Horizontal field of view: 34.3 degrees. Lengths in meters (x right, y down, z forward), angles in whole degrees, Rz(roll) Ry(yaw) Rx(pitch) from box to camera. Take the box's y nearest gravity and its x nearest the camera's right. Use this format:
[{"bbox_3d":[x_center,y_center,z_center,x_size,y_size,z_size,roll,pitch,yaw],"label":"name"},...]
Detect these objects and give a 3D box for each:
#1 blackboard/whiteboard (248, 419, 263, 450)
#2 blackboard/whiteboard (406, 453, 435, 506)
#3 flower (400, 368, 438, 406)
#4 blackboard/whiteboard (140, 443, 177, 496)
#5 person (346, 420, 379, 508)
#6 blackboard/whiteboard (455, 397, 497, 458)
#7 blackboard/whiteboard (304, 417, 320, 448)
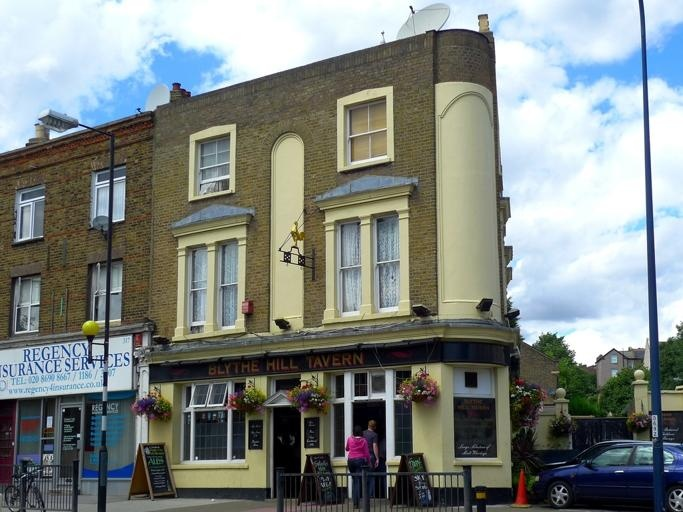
[{"bbox_3d":[-2.921,6.004,37.548,0.615,0.990,0.092,-11,-16,25],"label":"blackboard/whiteboard"},{"bbox_3d":[2.332,6.718,33.241,0.540,1.668,1.355,-19,-12,17],"label":"blackboard/whiteboard"},{"bbox_3d":[2.450,4.007,34.747,0.909,0.749,1.010,2,-10,-10],"label":"flower"},{"bbox_3d":[-6.332,7.328,38.276,0.444,1.901,1.270,-13,-18,34],"label":"blackboard/whiteboard"},{"bbox_3d":[0.729,6.209,33.675,0.838,2.404,0.651,-7,-12,40],"label":"person"},{"bbox_3d":[4.213,5.471,35.276,1.657,2.485,0.103,0,-5,-5],"label":"blackboard/whiteboard"},{"bbox_3d":[-0.974,5.765,36.472,0.614,1.009,0.092,-11,-16,25],"label":"blackboard/whiteboard"}]
